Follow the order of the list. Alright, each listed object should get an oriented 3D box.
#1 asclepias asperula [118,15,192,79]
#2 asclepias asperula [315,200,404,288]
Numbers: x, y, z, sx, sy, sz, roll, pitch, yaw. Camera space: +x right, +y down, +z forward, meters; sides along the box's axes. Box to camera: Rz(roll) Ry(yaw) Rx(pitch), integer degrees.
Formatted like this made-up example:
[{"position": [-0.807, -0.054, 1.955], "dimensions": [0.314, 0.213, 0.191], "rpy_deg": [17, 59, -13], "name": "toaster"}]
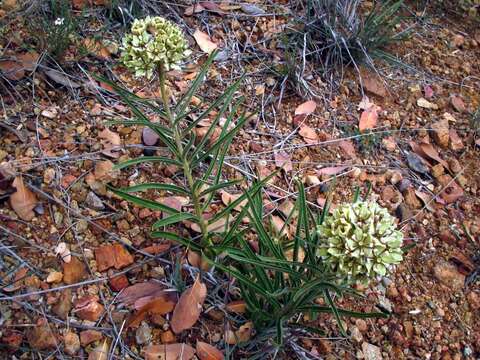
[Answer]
[{"position": [-0.474, -0.714, 2.122], "dimensions": [0.338, 0.236, 0.368], "rpy_deg": [-16, 78, -4], "name": "asclepias asperula"}, {"position": [0.589, 0.313, 1.904], "dimensions": [0.409, 0.300, 0.392], "rpy_deg": [-11, 62, -30], "name": "asclepias asperula"}]
